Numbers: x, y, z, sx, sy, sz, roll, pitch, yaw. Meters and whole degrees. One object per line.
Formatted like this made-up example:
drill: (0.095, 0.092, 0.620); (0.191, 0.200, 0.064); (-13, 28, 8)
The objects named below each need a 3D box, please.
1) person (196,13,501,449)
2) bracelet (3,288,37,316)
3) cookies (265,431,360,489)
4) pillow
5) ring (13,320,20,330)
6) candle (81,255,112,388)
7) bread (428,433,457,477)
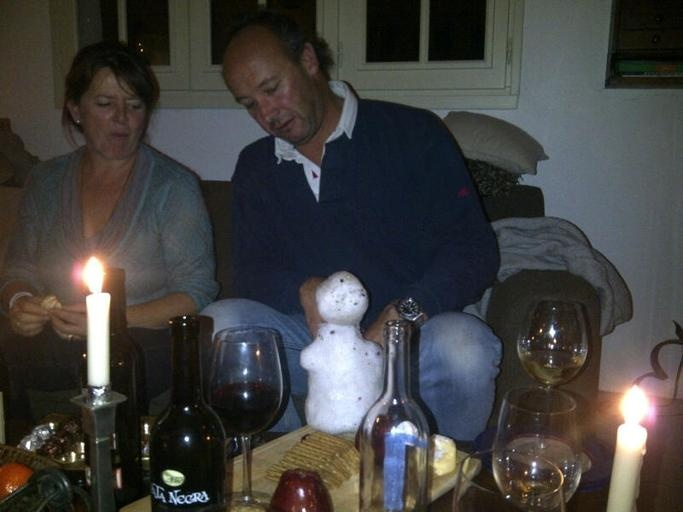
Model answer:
person: (0.055, -0.173, 2.331); (0.786, 1.526, 0.816); (5, 10, -1)
bracelet: (-1.098, 0.144, 2.371); (0.038, 0.096, 0.079); (41, 4, 8)
cookies: (-0.069, 0.476, 1.720); (0.181, 0.096, 0.189); (7, 7, 44)
pillow: (0.652, -0.510, 2.915); (0.430, 0.277, 0.425); (-5, 16, -33)
ring: (-1.088, 0.226, 2.308); (0.026, 0.029, 0.008); (10, 13, 17)
candle: (-0.484, 0.153, 1.408); (0.061, 0.292, 0.060); (8, 3, 18)
bread: (0.236, 0.493, 1.696); (0.077, 0.088, 0.086); (-14, -18, 43)
